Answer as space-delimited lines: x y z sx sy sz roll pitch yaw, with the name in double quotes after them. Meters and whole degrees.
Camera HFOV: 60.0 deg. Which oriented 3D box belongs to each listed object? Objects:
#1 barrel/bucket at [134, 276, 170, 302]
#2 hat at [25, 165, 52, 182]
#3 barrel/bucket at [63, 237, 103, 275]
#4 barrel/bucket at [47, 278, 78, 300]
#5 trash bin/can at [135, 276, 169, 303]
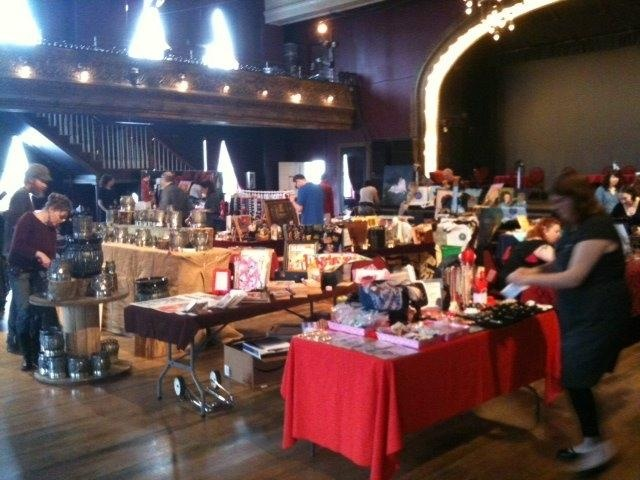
-1.658 0.451 5.434 0.257 0.237 0.257 0 4 0 "barrel/bucket"
-2.833 -0.677 5.595 0.238 0.122 0.171 -4 9 -22 "hat"
-2.234 0.143 5.188 0.364 0.328 0.353 0 0 0 "barrel/bucket"
-2.308 0.427 4.941 0.201 0.139 0.194 1 -2 0 "barrel/bucket"
-1.665 0.476 5.439 0.260 0.237 0.254 0 -1 -41 "trash bin/can"
